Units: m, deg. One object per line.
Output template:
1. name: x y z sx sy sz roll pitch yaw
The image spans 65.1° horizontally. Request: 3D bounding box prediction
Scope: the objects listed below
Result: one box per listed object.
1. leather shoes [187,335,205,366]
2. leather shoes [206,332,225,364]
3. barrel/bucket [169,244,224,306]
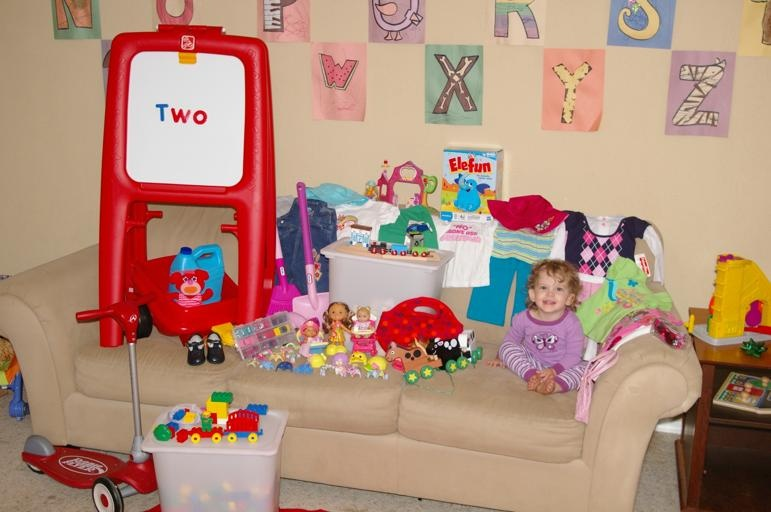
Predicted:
1. leather shoes: -0.917 0.459 2.909 0.081 0.139 0.054 0 -25 -13
2. leather shoes: -0.840 0.445 2.969 0.093 0.066 0.229 7 25 -20
3. barrel/bucket: -1.010 0.082 3.184 0.343 0.378 0.219 -1 17 -32
